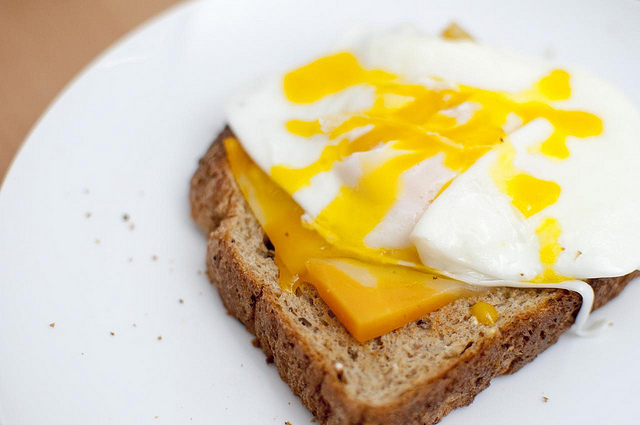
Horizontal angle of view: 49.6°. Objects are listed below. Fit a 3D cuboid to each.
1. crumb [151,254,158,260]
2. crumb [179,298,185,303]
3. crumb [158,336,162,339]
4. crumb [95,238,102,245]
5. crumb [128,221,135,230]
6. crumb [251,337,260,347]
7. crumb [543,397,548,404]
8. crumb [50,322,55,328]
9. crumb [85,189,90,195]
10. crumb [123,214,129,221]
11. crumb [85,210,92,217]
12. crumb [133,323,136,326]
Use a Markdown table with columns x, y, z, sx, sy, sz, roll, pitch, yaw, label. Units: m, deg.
| x | y | z | sx | sy | sz | roll | pitch | yaw | label |
| --- | --- | --- | --- | --- | --- | --- | --- | --- | --- |
| -1.044 | 0.278 | 4.389 | 0.032 | 0.013 | 0.035 | 0 | 74 | 9 | crumb |
| -0.859 | 0.543 | 4.305 | 0.027 | 0.012 | 0.029 | -1 | 74 | 9 | crumb |
| -0.970 | 0.753 | 4.195 | 0.022 | 0.006 | 0.025 | 1 | 60 | -10 | crumb |
| -1.394 | 0.182 | 4.363 | 0.033 | 0.015 | 0.044 | 30 | 81 | 16 | crumb |
| -1.207 | 0.081 | 4.430 | 0.036 | 0.009 | 0.039 | 21 | 58 | -9 | crumb |
| -0.396 | 0.786 | 4.215 | 0.044 | 0.014 | 0.049 | 4 | 74 | 14 | crumb |
| 1.325 | 1.102 | 4.078 | 0.023 | 0.007 | 0.025 | -12 | 66 | -2 | crumb |
| -1.601 | 0.672 | 4.147 | 0.025 | 0.008 | 0.027 | 1 | 75 | 9 | crumb |
| -1.492 | -0.136 | 4.450 | 0.021 | 0.008 | 0.034 | -8 | 74 | 7 | crumb |
| -1.243 | 0.027 | 4.450 | 0.029 | 0.012 | 0.041 | -14 | 73 | 5 | crumb |
| -1.472 | 0.004 | 4.412 | 0.034 | 0.008 | 0.038 | 7 | 67 | -22 | crumb |
| -1.123 | 0.678 | 4.203 | 0.017 | 0.004 | 0.011 | 34 | 82 | 16 | crumb |
